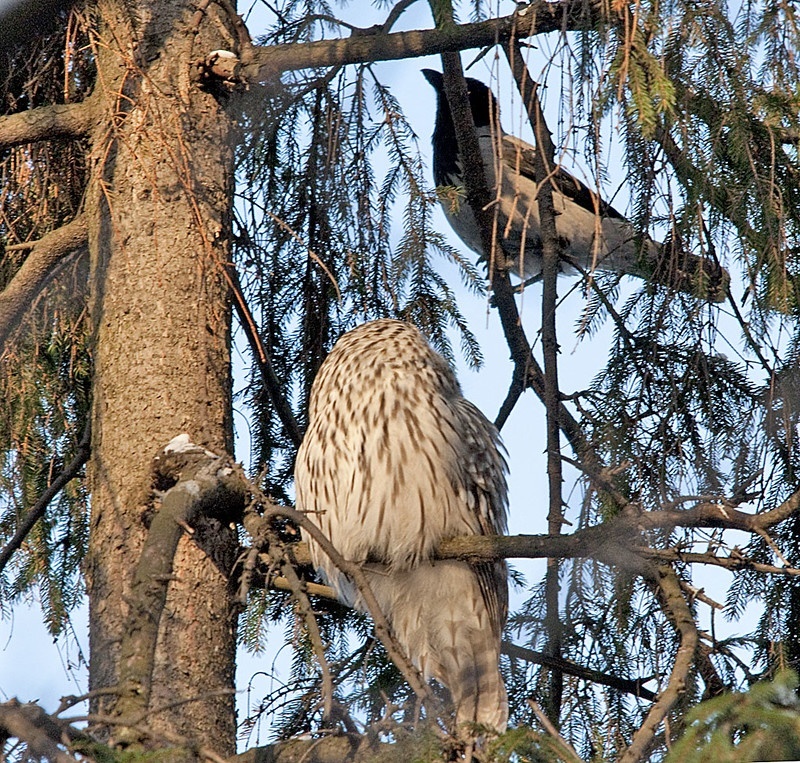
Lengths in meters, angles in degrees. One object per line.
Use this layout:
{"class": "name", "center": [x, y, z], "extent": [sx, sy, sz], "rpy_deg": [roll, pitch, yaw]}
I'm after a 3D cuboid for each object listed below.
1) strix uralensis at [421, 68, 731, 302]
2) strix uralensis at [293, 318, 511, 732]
{"class": "strix uralensis", "center": [0.698, -0.781, 10.276], "extent": [1.415, 0.918, 0.485], "rpy_deg": [14, -37, -5]}
{"class": "strix uralensis", "center": [-0.013, 0.544, 8.163], "extent": [0.577, 1.093, 1.368], "rpy_deg": [-12, -65, -7]}
